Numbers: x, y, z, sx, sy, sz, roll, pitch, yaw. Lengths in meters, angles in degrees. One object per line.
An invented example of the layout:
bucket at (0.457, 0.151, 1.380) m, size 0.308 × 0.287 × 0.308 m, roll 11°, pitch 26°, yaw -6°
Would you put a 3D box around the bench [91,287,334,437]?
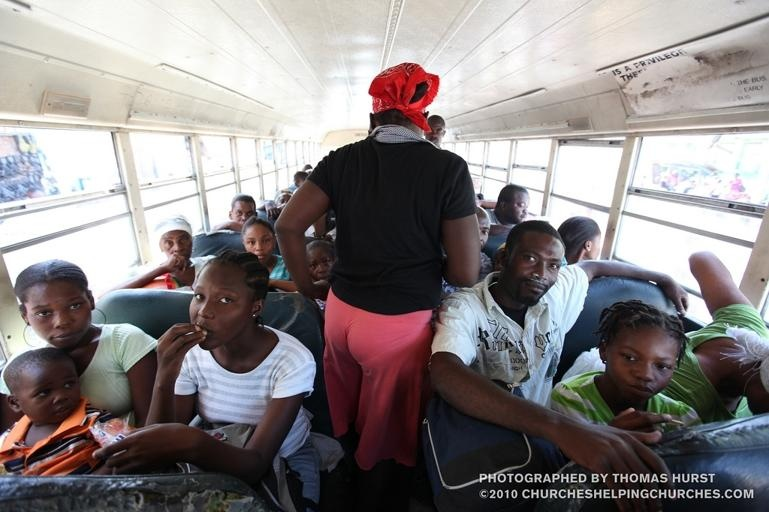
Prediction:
bench at (-1.179, 0.749, 3.458) m, size 1.095 × 1.245 × 1.229 m, roll -3°, pitch -11°, yaw -4°
